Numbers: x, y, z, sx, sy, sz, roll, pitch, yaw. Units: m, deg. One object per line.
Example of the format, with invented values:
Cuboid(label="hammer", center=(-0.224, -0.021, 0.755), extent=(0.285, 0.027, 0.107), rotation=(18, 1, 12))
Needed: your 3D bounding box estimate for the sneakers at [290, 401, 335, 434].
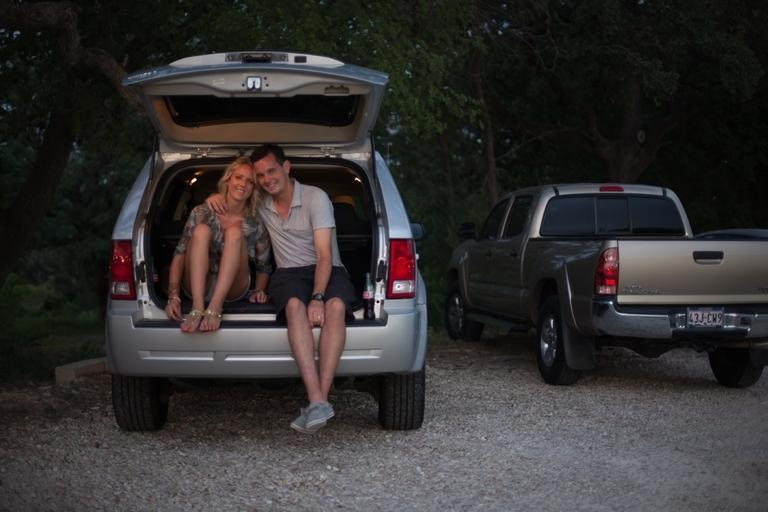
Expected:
Cuboid(label="sneakers", center=(-0.573, 1.292, 4.765), extent=(0.211, 0.152, 0.356), rotation=(-21, 4, 44))

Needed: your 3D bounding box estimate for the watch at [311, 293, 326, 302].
Cuboid(label="watch", center=(-0.536, 0.352, 4.962), extent=(0.106, 0.070, 0.100), rotation=(10, -11, -26))

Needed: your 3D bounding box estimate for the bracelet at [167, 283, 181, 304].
Cuboid(label="bracelet", center=(-1.759, 0.327, 5.016), extent=(0.116, 0.162, 0.062), rotation=(11, -27, -19))

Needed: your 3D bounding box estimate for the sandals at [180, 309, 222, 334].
Cuboid(label="sandals", center=(-1.422, 0.518, 4.724), extent=(0.179, 0.075, 0.248), rotation=(0, 12, -2))

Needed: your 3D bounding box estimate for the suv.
Cuboid(label="suv", center=(-1.087, -0.154, 7.211), extent=(2.903, 3.206, 5.085), rotation=(0, 3, -3))
